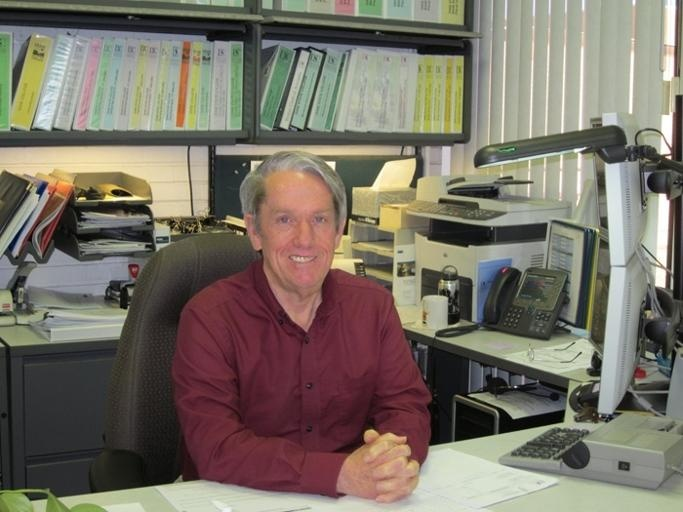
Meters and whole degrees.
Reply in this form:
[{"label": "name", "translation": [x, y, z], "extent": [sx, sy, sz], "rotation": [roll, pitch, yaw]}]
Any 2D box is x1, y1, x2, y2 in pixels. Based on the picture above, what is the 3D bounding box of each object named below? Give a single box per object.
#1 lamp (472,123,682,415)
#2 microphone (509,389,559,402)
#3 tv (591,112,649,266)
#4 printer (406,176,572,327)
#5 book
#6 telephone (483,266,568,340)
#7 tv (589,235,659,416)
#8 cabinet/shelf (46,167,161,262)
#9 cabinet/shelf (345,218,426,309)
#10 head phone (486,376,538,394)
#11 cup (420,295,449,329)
[{"label": "lamp", "translation": [0.834, 0.047, 1.862], "extent": [0.740, 0.801, 0.879], "rotation": [-2, 7, 2]}, {"label": "microphone", "translation": [0.781, 0.546, 2.218], "extent": [0.111, 0.026, 0.064], "rotation": [1, 7, -7]}, {"label": "tv", "translation": [0.770, -0.176, 1.517], "extent": [0.137, 0.420, 0.277], "rotation": [8, 12, 34]}, {"label": "printer", "translation": [0.714, -0.042, 2.889], "extent": [0.604, 0.643, 0.616], "rotation": [12, 12, 39]}, {"label": "book", "translation": [-1.258, -0.009, 2.592], "extent": [0.820, 0.731, 0.431], "rotation": [-5, 9, -31]}, {"label": "telephone", "translation": [0.844, 0.199, 2.529], "extent": [0.342, 0.265, 0.259], "rotation": [7, 16, 44]}, {"label": "tv", "translation": [0.807, 0.209, 1.587], "extent": [0.081, 0.299, 0.438], "rotation": [6, 27, 25]}, {"label": "cabinet/shelf", "translation": [-1.168, -0.204, 2.721], "extent": [0.409, 0.374, 0.589], "rotation": [-3, 9, -30]}, {"label": "cabinet/shelf", "translation": [0.238, 0.022, 3.201], "extent": [0.408, 0.517, 0.710], "rotation": [-1, 6, -22]}, {"label": "head phone", "translation": [0.680, 0.522, 2.238], "extent": [0.138, 0.041, 0.092], "rotation": [0, -3, 4]}, {"label": "cup", "translation": [0.442, 0.266, 2.599], "extent": [0.125, 0.120, 0.116], "rotation": [-1, 0, 0]}]
